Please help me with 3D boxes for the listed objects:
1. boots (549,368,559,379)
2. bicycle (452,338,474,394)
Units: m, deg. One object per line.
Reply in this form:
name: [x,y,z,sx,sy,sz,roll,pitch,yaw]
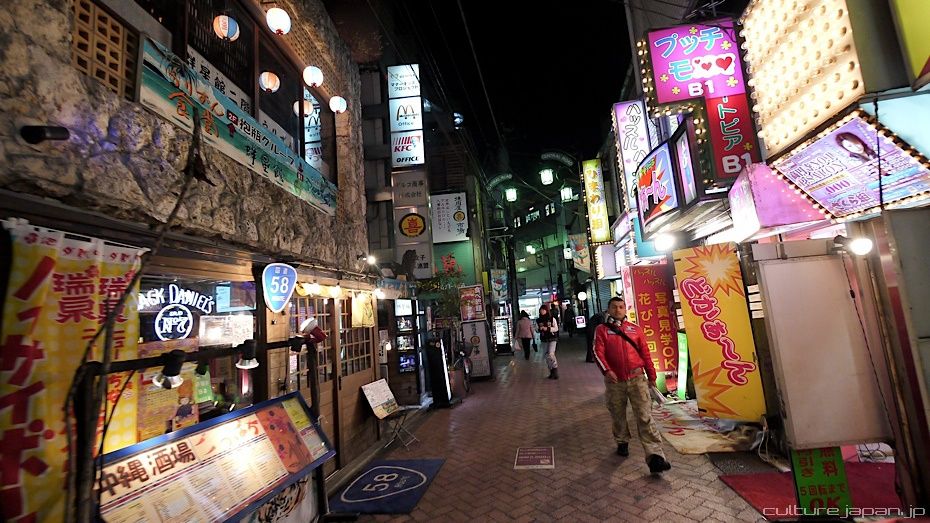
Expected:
boots: [2.835,3.647,16.718,0.302,0.321,0.428,-5,1,8]
bicycle: [0.085,3.455,17.233,0.885,1.342,0.871,-13,-5,-11]
